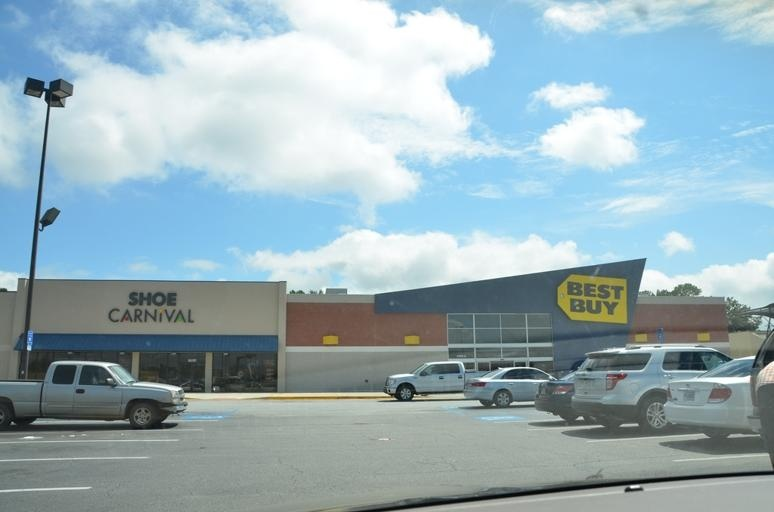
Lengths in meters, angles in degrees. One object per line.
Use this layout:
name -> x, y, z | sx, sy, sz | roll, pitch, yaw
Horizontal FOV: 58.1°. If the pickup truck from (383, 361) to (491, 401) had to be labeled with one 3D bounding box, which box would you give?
pickup truck -> 2.419, 6.095, 34.429 | 4.829, 1.527, 1.982 | 1, -8, -7
